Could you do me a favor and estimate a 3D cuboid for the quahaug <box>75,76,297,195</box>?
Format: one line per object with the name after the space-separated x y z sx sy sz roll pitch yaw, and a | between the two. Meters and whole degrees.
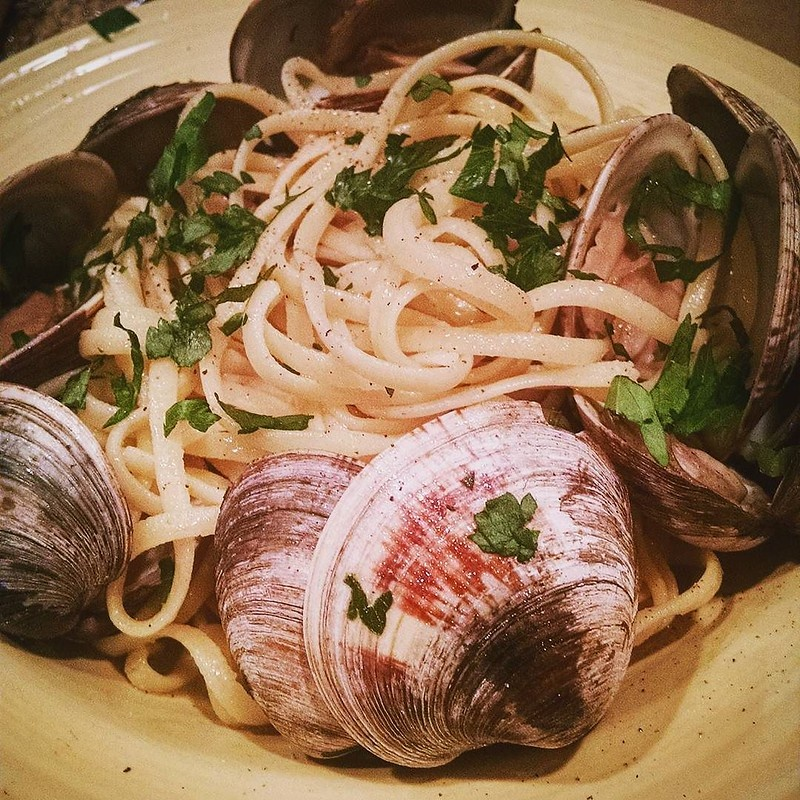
-0.549 -0.634 2.462 0.343 0.309 0.078 -23 64 1 | quahaug
